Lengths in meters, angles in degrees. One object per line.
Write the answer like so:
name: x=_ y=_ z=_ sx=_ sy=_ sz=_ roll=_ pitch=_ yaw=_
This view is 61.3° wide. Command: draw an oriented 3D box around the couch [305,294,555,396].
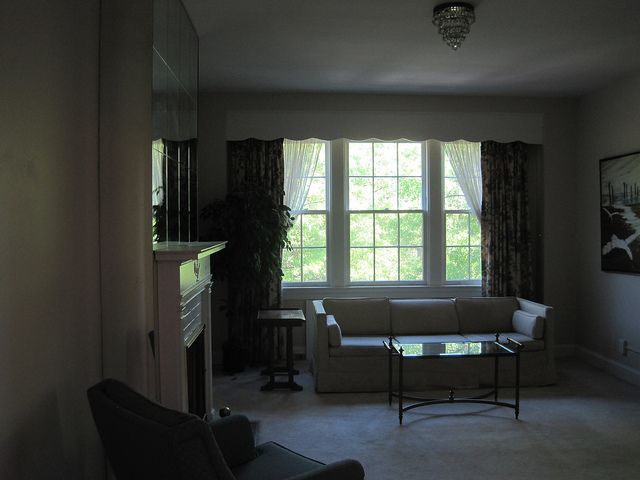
couch: x=1.214 y=1.135 z=6.309 sx=2.600 sy=0.862 sz=1.165 roll=-1 pitch=5 yaw=-4

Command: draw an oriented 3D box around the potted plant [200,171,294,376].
potted plant: x=-0.853 y=0.395 z=6.517 sx=0.979 sy=2.341 sz=0.847 roll=-1 pitch=5 yaw=-8

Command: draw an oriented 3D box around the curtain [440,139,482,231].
curtain: x=1.899 y=-0.777 z=7.165 sx=0.490 sy=1.029 sz=0.138 roll=1 pitch=5 yaw=14
